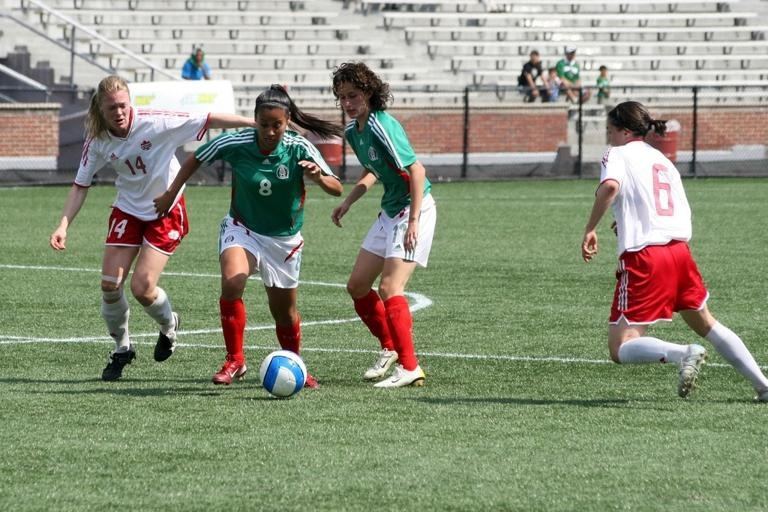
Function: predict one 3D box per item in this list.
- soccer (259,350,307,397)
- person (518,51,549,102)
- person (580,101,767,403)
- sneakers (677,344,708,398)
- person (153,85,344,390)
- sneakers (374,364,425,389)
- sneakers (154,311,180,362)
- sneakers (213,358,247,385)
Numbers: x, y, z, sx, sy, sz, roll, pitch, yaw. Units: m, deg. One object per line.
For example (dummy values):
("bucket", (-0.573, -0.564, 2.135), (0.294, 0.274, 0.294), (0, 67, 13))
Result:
("soccer", (-0.950, 1.137, 12.462), (0.395, 0.423, 0.404), (6, -29, 1))
("person", (3.331, -3.955, 28.827), (0.657, 1.090, 2.013), (1, 10, 6))
("person", (2.635, -0.040, 12.311), (1.493, 2.757, 0.760), (2, 9, 12))
("sneakers", (2.877, 1.051, 12.191), (0.256, 0.582, 0.209), (9, 19, 4))
("person", (-1.189, -0.203, 12.759), (1.527, 2.895, 0.470), (-2, 9, -9))
("sneakers", (0.192, 1.193, 12.821), (0.563, 0.277, 0.195), (-1, -2, -9))
("sneakers", (-2.169, 0.888, 13.294), (0.206, 0.551, 0.216), (17, 20, 27))
("sneakers", (-1.519, 1.157, 12.828), (0.147, 0.213, 0.394), (5, 8, 33))
